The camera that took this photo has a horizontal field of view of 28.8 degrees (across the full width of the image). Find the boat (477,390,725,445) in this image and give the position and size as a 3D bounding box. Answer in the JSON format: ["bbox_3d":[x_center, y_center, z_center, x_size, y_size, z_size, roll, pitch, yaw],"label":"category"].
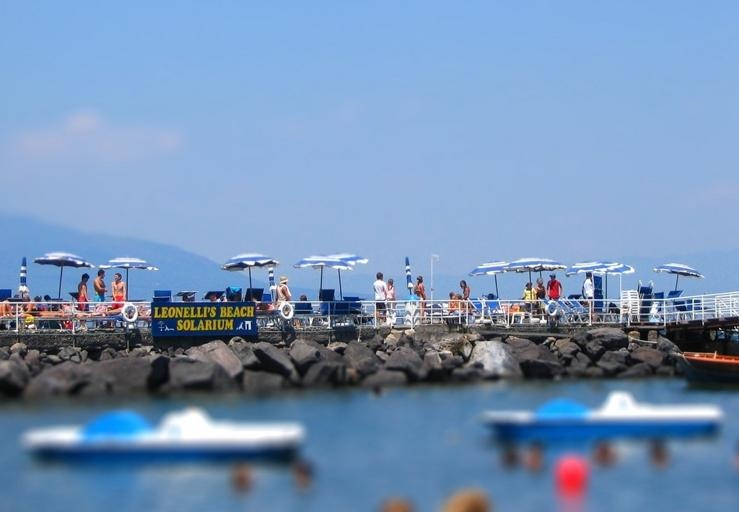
[{"bbox_3d":[8.071,6.055,51.099,8.954,1.950,2.842,-1,-16,2],"label":"boat"}]

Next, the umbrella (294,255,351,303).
[{"bbox_3d":[-2.143,0.729,63.272,2.550,1.591,2.595,2,3,2],"label":"umbrella"}]

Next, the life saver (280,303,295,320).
[{"bbox_3d":[-3.487,2.329,60.235,0.601,0.695,0.324,-1,-4,-19],"label":"life saver"}]

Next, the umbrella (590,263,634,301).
[{"bbox_3d":[9.276,1.032,56.490,1.689,1.397,1.630,1,7,29],"label":"umbrella"}]

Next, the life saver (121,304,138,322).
[{"bbox_3d":[-9.929,2.367,59.741,0.688,0.815,0.359,-1,-4,-16],"label":"life saver"}]

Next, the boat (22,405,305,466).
[{"bbox_3d":[-7.160,6.234,50.231,9.664,1.688,4.610,1,4,-9],"label":"boat"}]
